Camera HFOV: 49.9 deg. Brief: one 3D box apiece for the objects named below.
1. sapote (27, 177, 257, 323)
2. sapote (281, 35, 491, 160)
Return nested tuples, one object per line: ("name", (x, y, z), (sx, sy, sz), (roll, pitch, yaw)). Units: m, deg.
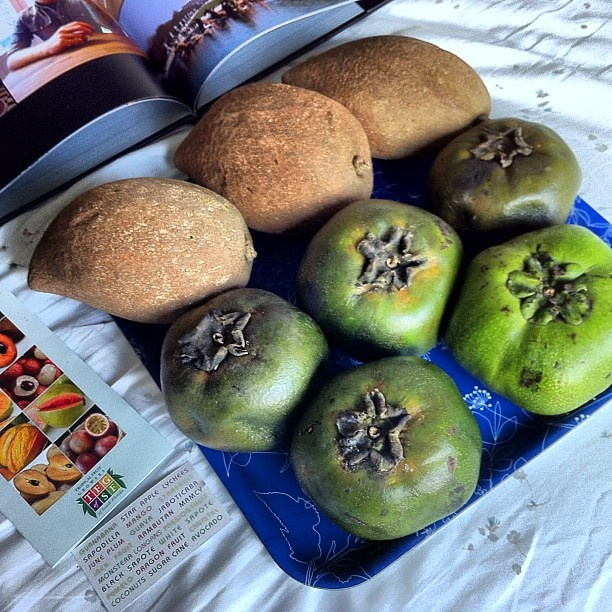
("sapote", (-0.241, -0.084, 1.062), (0.371, 0.205, 0.148), (-9, 88, -10))
("sapote", (0.161, -0.360, 1.177), (0.367, 0.181, 0.162), (7, 77, 10))
